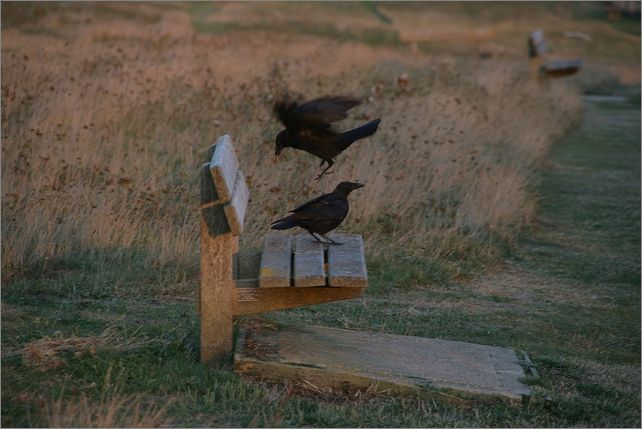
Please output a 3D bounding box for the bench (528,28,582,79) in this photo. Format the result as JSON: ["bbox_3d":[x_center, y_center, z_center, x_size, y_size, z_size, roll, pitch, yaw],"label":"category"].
[{"bbox_3d":[5.031,-3.380,23.189,1.397,1.034,0.483,-1,3,13],"label":"bench"}]

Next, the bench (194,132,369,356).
[{"bbox_3d":[-0.598,0.566,17.049,2.763,2.332,3.030,2,12,-2],"label":"bench"}]

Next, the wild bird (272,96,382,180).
[{"bbox_3d":[-0.122,-1.489,17.876,1.690,0.817,2.020,-18,7,11],"label":"wild bird"}]
